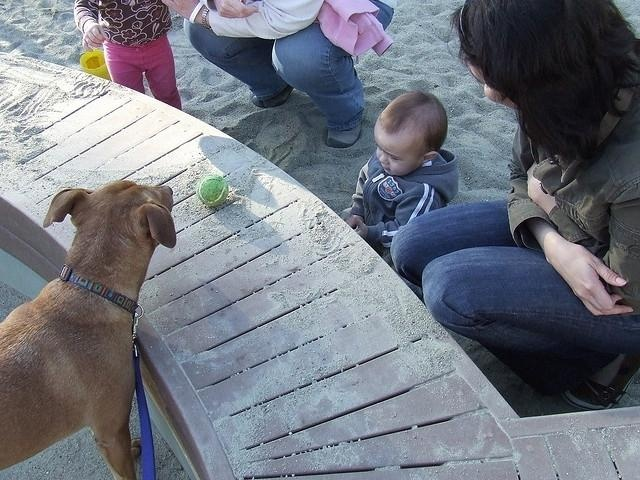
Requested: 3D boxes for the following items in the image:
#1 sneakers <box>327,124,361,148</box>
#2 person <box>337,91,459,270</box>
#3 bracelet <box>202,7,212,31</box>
[{"bbox_3d":[0.177,-0.757,4.326,0.234,0.104,0.148,4,74,-4],"label":"sneakers"},{"bbox_3d":[0.477,-0.428,3.655,0.617,0.936,0.624,31,48,29],"label":"person"},{"bbox_3d":[-0.758,-1.469,3.938,0.078,0.130,0.119,1,34,-3],"label":"bracelet"}]
